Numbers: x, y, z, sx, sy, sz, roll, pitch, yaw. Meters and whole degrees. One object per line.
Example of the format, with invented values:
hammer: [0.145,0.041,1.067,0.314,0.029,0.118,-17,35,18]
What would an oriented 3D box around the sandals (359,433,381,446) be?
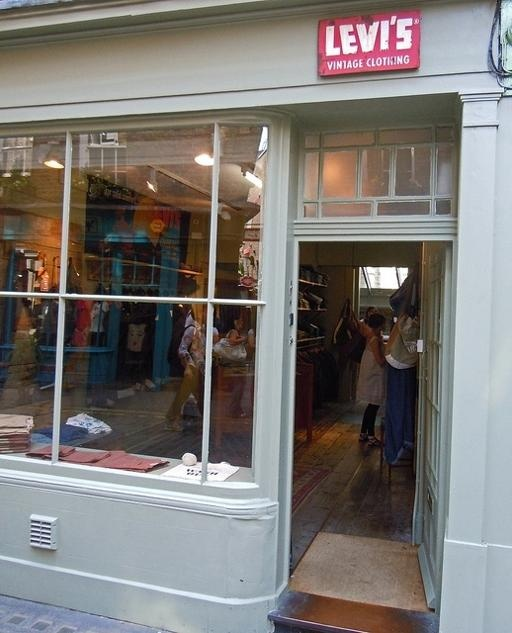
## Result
sandals: [1.378,1.505,6.363,0.271,0.099,0.193,7,3,-13]

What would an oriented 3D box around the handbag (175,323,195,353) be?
handbag: [-0.388,0.122,2.983,0.053,0.145,0.105,17,-6,3]

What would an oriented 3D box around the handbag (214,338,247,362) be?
handbag: [-0.139,0.186,2.805,0.149,0.116,0.059,2,-3,7]

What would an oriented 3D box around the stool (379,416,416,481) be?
stool: [1.291,1.150,4.629,0.399,0.587,0.400,6,-13,-11]

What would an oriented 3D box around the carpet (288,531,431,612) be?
carpet: [0.628,1.515,3.190,0.735,0.034,0.910,2,-1,15]

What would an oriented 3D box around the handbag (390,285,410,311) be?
handbag: [1.262,-0.146,4.642,0.067,0.143,0.200,7,-29,5]

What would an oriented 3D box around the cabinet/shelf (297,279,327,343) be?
cabinet/shelf: [0.953,0.057,9.013,0.221,0.620,0.642,7,8,42]
